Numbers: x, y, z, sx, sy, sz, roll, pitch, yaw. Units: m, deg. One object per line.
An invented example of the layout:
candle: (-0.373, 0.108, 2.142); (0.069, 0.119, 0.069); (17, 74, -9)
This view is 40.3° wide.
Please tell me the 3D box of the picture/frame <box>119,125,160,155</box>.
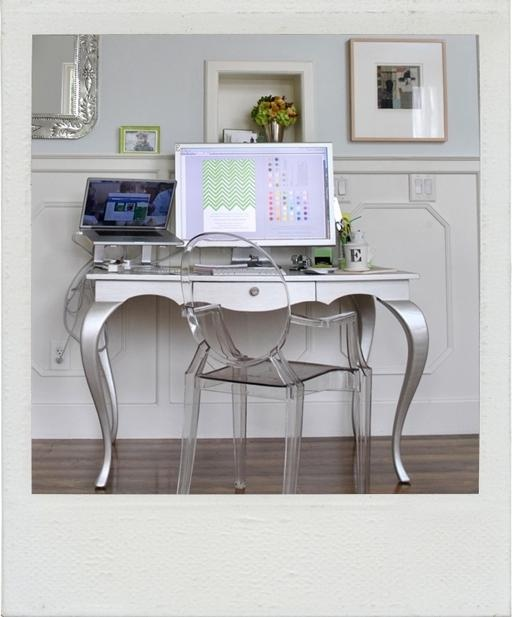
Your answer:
picture/frame: (-0.495, -0.713, 2.948); (0.132, 0.089, 0.009); (0, 1, -3)

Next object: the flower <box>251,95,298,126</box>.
flower: (0.077, -0.835, 2.970); (0.183, 0.122, 0.085); (-2, 10, -1)

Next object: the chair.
chair: (0.021, 0.183, 2.199); (0.519, 0.822, 0.507); (-2, -4, 31)

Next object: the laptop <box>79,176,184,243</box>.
laptop: (-0.468, -0.367, 2.586); (0.346, 0.211, 0.215); (0, 15, -22)

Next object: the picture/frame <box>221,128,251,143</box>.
picture/frame: (-0.075, -0.751, 3.043); (0.150, 0.062, 0.100); (0, 10, 9)

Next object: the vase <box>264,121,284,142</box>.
vase: (0.080, -0.752, 2.976); (0.084, 0.078, 0.079); (-6, 11, -23)

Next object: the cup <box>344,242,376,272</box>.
cup: (0.362, -0.188, 2.569); (0.124, 0.116, 0.085); (-2, -6, -11)

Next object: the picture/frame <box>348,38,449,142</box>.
picture/frame: (0.597, -0.952, 3.001); (0.468, 0.450, 0.016); (0, 0, -5)

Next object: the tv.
tv: (0.005, -0.439, 2.798); (0.586, 0.379, 0.043); (-1, 2, -3)

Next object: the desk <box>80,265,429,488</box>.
desk: (-0.021, 0.220, 2.531); (1.162, 0.708, 0.513); (0, 3, -11)

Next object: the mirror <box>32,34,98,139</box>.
mirror: (-0.795, -0.929, 2.940); (0.293, 0.423, 0.108); (-3, 9, -8)
